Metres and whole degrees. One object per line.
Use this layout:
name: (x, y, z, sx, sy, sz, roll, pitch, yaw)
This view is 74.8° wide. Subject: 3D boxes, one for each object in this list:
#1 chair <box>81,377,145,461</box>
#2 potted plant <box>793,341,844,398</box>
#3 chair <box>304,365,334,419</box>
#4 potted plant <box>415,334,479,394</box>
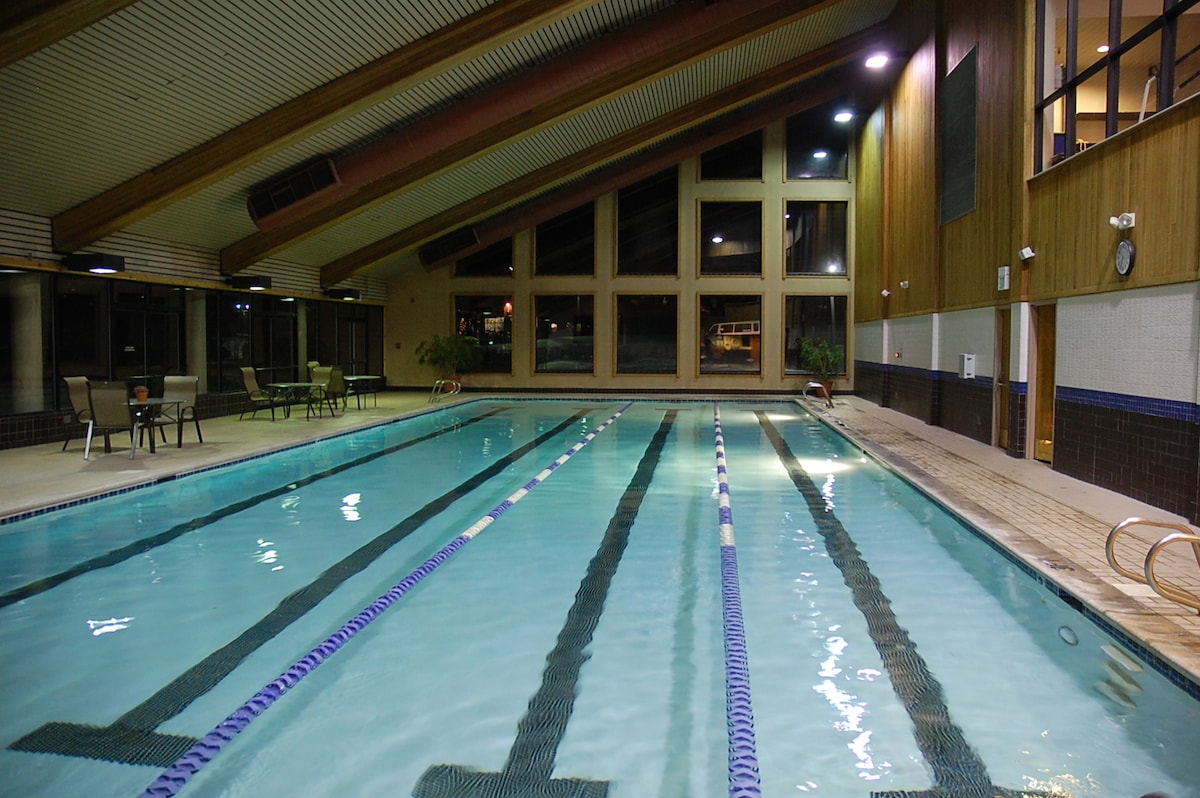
chair: (-6.421, 0.239, 10.663, 0.677, 1.032, 0.776, 2, 5, 7)
potted plant: (5.448, -0.785, 19.530, 1.058, 1.384, 0.808, 3, 9, 13)
chair: (-5.553, -0.132, 15.734, 0.747, 0.897, 0.686, -1, -1, -35)
potted plant: (-3.928, -0.930, 20.549, 1.637, 1.481, 1.201, 9, 12, 43)
